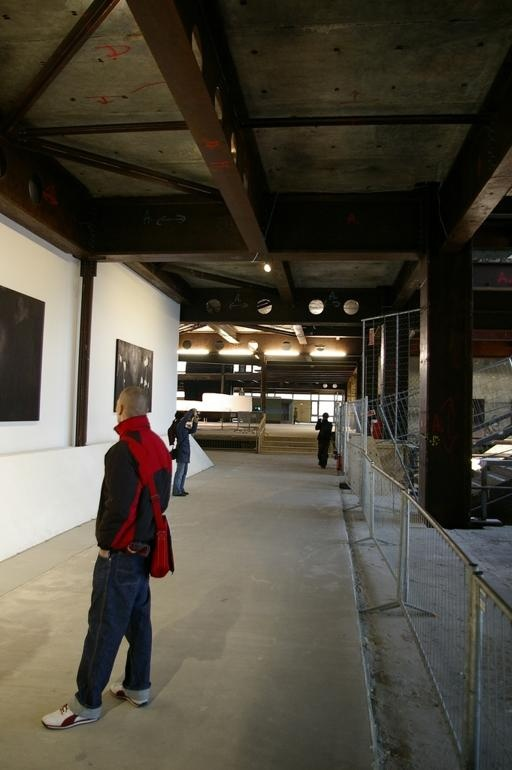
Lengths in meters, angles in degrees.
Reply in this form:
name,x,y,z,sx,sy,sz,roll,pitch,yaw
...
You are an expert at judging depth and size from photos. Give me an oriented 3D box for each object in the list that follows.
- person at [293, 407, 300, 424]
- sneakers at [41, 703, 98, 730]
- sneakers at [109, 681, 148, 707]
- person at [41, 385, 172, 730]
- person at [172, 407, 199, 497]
name,x,y,z,sx,sy,sz,roll,pitch,yaw
person,2.676,2.021,33.344,0.232,0.964,0.539,-1,-5,41
sneakers,-0.750,1.327,1.980,0.179,0.076,0.084,7,-21,-8
sneakers,-0.573,1.348,2.195,0.181,0.076,0.074,14,-14,39
person,-0.595,0.694,2.093,0.499,1.382,0.319,3,-4,-22
person,-1.149,1.059,7.815,0.332,1.344,1.278,2,-4,-8
